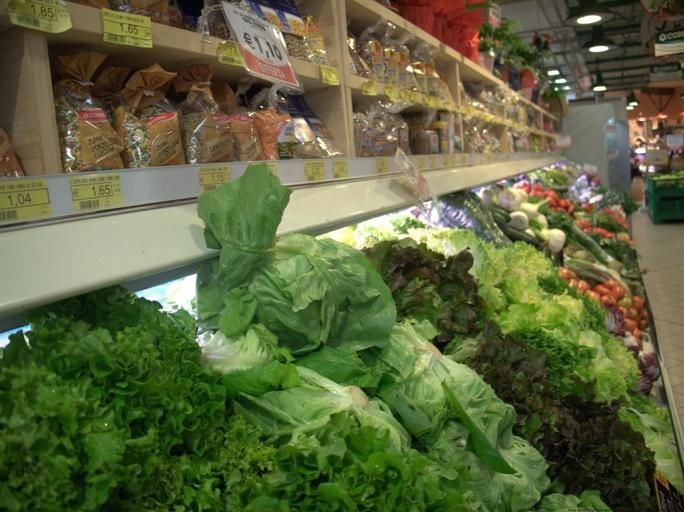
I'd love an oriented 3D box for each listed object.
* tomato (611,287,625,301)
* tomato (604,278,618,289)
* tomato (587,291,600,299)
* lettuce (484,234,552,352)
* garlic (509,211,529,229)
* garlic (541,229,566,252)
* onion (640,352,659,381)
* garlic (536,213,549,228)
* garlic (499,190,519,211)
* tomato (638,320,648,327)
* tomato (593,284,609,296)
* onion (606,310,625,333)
[{"bbox_3d":[2.149,0.283,3.124,0.107,0.113,0.104,-9,5,-42],"label":"tomato"},{"bbox_3d":[2.153,0.224,3.198,0.074,0.077,0.077,-4,9,4],"label":"tomato"},{"bbox_3d":[1.782,0.280,2.842,0.063,0.052,0.076,2,21,-6],"label":"tomato"},{"bbox_3d":[0.718,0.187,1.878,0.185,0.389,0.398,-40,-25,27],"label":"lettuce"},{"bbox_3d":[1.478,-0.295,3.340,0.118,0.091,0.162,0,27,3],"label":"garlic"},{"bbox_3d":[1.789,-0.128,3.395,0.167,0.183,0.229,0,12,-17],"label":"garlic"},{"bbox_3d":[1.788,0.660,2.340,0.058,0.160,0.155,-19,10,46],"label":"onion"},{"bbox_3d":[1.875,-0.332,3.759,0.104,0.131,0.070,-5,-23,-32],"label":"garlic"},{"bbox_3d":[1.461,-0.492,3.507,0.156,0.173,0.213,-2,-20,17],"label":"garlic"},{"bbox_3d":[2.439,0.556,3.246,0.070,0.064,0.079,7,9,41],"label":"tomato"},{"bbox_3d":[2.005,0.263,3.109,0.083,0.082,0.083,-41,40,9],"label":"tomato"},{"bbox_3d":[1.639,0.402,2.408,0.045,0.132,0.115,-23,-39,27],"label":"onion"}]
